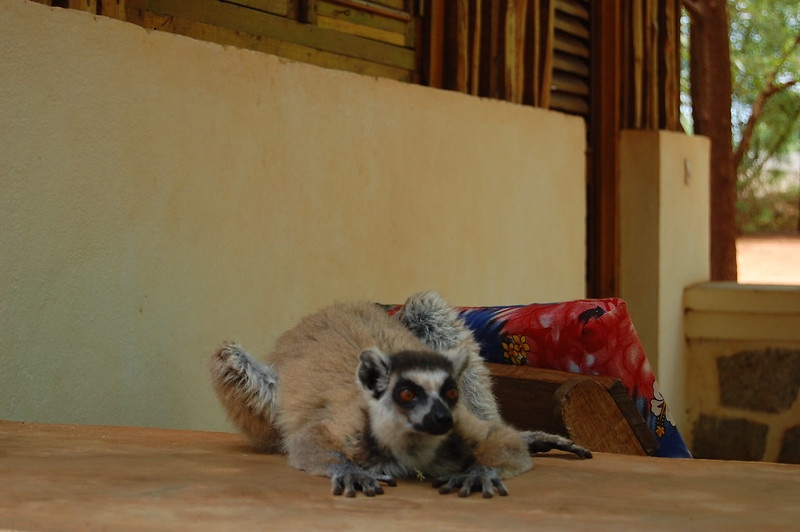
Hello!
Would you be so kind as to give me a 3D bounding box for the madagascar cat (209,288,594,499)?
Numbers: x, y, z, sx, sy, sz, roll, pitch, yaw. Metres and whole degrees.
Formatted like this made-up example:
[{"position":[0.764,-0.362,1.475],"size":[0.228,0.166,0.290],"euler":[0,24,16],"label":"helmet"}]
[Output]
[{"position":[-0.186,0.684,5.024],"size":[1.123,0.526,1.124],"euler":[1,2,-29],"label":"madagascar cat"}]
